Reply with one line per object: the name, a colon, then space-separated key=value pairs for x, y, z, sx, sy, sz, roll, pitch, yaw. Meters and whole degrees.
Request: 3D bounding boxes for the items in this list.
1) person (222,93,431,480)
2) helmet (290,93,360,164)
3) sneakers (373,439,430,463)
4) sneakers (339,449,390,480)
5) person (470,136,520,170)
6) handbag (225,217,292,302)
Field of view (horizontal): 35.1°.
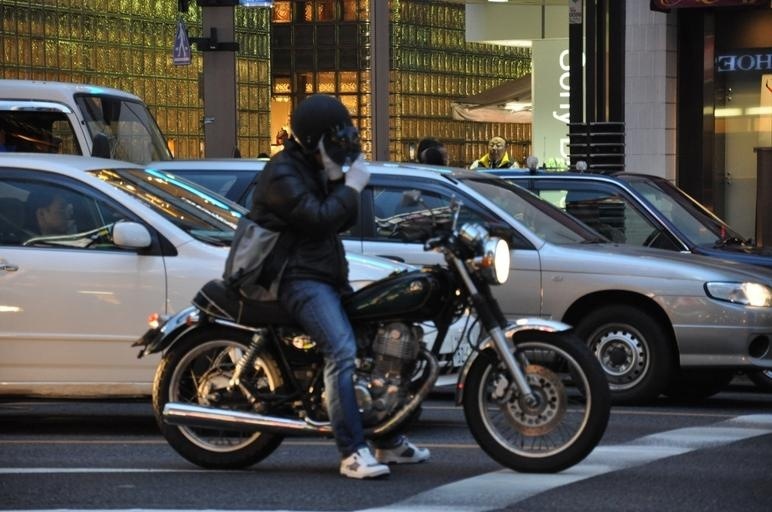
person: x=-0.533 y=0.246 z=8.823 sx=1.089 sy=2.802 sz=0.407 roll=0 pitch=5 yaw=5
helmet: x=-0.405 y=-0.922 z=8.854 sx=0.553 sy=0.528 sz=0.412 roll=-7 pitch=10 yaw=0
sneakers: x=0.118 y=1.507 z=9.357 sx=0.460 sy=0.213 sz=0.168 roll=-1 pitch=7 yaw=-10
sneakers: x=-0.168 y=1.501 z=8.756 sx=0.387 sy=0.179 sz=0.168 roll=-1 pitch=-1 yaw=20
person: x=1.648 y=-1.488 z=18.377 sx=0.846 sy=0.506 sz=0.393 roll=6 pitch=2 yaw=22
handbag: x=-0.903 y=0.030 z=8.810 sx=0.298 sy=0.516 sz=0.498 roll=15 pitch=2 yaw=-45
